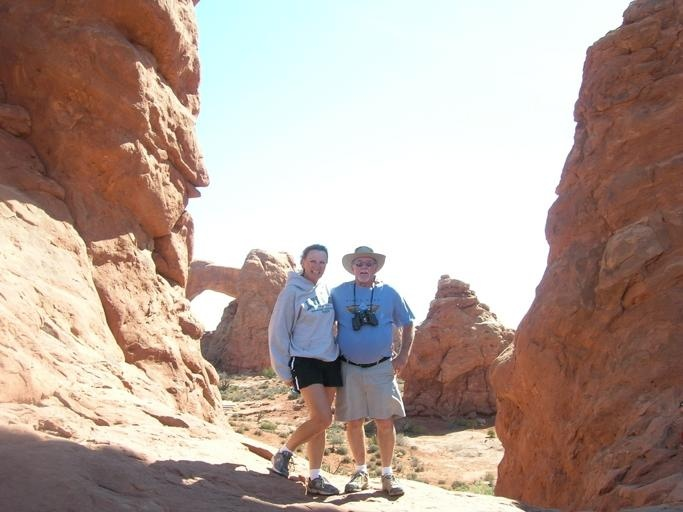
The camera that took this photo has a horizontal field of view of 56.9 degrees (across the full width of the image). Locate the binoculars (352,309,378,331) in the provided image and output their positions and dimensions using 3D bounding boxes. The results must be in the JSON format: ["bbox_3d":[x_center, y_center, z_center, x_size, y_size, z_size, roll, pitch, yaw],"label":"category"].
[{"bbox_3d":[0.265,0.754,7.532,0.249,0.239,0.118,-8,-23,0],"label":"binoculars"}]

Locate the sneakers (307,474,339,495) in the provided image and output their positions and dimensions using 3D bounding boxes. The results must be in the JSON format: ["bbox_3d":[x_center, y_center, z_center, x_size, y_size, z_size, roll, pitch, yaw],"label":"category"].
[{"bbox_3d":[-0.237,2.630,7.200,0.437,0.213,0.159,5,-7,-4],"label":"sneakers"}]

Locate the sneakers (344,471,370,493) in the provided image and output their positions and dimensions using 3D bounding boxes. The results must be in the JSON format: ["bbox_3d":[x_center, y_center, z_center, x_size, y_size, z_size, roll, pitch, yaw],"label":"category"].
[{"bbox_3d":[0.182,2.664,7.380,0.143,0.163,0.365,-7,-17,18],"label":"sneakers"}]

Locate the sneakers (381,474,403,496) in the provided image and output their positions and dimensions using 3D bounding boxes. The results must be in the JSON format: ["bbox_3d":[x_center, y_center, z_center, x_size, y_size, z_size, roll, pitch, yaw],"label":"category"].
[{"bbox_3d":[0.584,2.666,7.271,0.135,0.141,0.311,-1,-15,-23],"label":"sneakers"}]
